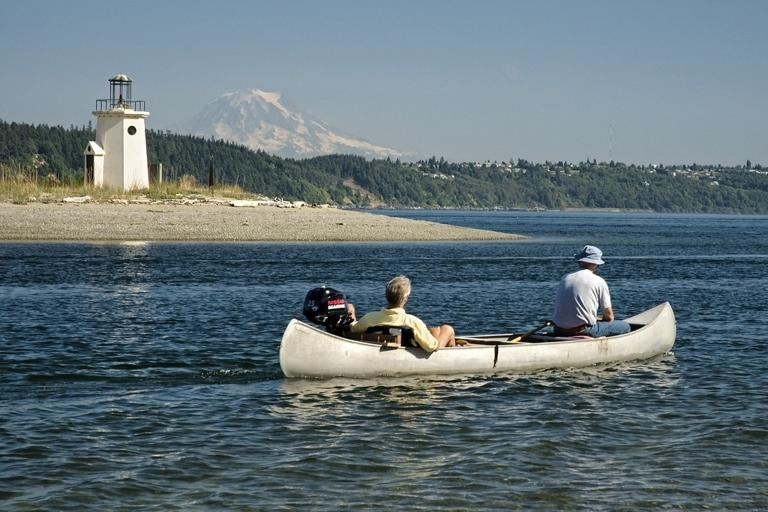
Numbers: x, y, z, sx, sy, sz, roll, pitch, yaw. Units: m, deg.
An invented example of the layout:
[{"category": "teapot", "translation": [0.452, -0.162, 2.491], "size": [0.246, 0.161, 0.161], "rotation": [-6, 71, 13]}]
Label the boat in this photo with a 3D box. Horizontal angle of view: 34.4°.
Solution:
[{"category": "boat", "translation": [2.476, 2.325, 33.290], "size": [10.943, 1.494, 1.998], "rotation": [-1, 3, -14]}]
